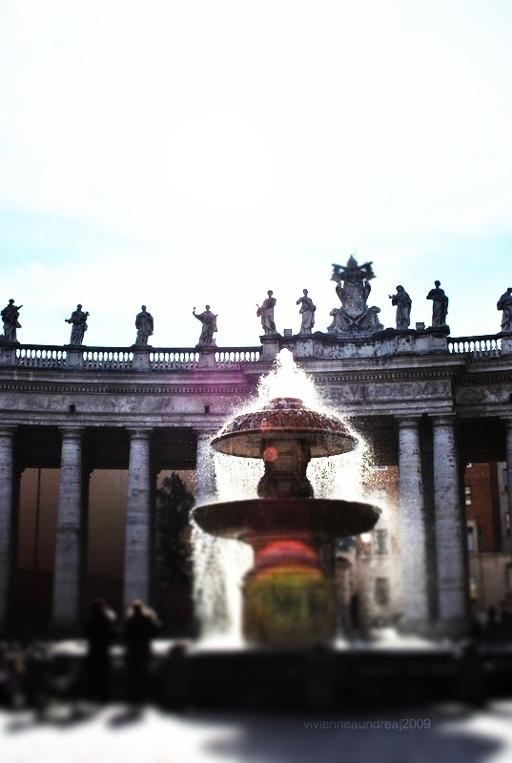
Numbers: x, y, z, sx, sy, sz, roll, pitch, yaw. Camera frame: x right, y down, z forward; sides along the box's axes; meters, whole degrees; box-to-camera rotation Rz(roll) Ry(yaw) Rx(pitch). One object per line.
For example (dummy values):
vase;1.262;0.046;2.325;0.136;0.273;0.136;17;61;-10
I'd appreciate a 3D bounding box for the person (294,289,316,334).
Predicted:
person;1.627;-2.272;31.452;0.480;1.602;0.628;-3;-12;4

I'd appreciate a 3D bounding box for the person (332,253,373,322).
person;3.244;-3.139;32.382;1.236;2.427;0.775;-3;-12;6

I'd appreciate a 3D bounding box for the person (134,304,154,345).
person;-3.749;-1.857;32.211;0.516;1.502;0.572;-2;-12;0

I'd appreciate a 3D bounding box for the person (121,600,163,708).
person;-1.613;3.690;13.408;0.456;1.289;1.070;-1;-12;-6

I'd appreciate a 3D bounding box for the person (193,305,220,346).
person;-1.645;-1.870;31.455;0.679;1.572;1.422;-1;-11;-5

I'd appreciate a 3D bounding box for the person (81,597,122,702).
person;-2.176;3.686;13.410;0.387;1.259;0.880;0;-12;-9
